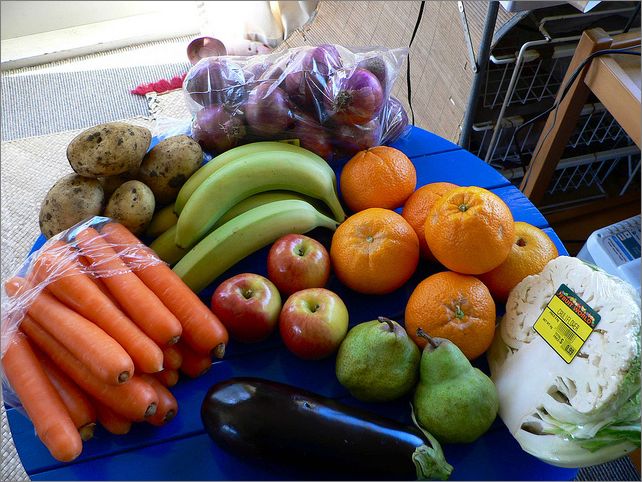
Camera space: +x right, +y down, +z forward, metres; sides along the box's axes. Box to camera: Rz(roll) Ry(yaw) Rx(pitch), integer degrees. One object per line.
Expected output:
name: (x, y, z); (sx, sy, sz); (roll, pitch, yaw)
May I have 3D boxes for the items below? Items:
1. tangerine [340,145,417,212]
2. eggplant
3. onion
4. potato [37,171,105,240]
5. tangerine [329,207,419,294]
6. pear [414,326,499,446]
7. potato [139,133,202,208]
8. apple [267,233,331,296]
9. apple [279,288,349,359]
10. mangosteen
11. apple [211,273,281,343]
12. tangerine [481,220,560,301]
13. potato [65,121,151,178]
tangerine: (0.118, -0.143, 1.061); (0.167, 0.132, 0.180); (4, 39, 5)
eggplant: (0.004, 0.314, 0.742); (0.401, 0.096, 0.110); (10, 45, 10)
onion: (-0.048, -0.295, 1.140); (0.454, 0.198, 0.280); (-11, 60, -3)
potato: (-0.509, -0.077, 0.998); (0.079, 0.104, 0.139); (28, 59, 21)
tangerine: (0.077, 0.003, 0.941); (0.175, 0.150, 0.206); (-5, 35, -11)
pear: (0.213, 0.237, 0.751); (0.113, 0.167, 0.114); (-19, 15, 32)
potato: (-0.322, -0.159, 1.055); (0.109, 0.109, 0.146); (29, 69, 34)
apple: (-0.042, 0.042, 0.941); (0.134, 0.105, 0.120); (29, 42, 34)
apple: (-0.014, 0.142, 0.867); (0.115, 0.111, 0.116); (16, 43, 18)
mangosteen: (0.239, -0.031, 0.879); (0.173, 0.139, 0.165); (1, 34, -1)
apple: (-0.127, 0.121, 0.854); (0.113, 0.090, 0.121); (14, 40, 6)
tangerine: (0.357, 0.022, 0.926); (0.135, 0.142, 0.167); (21, 39, 36)
potato: (-0.418, -0.196, 1.010); (0.137, 0.125, 0.165); (9, 38, 6)
